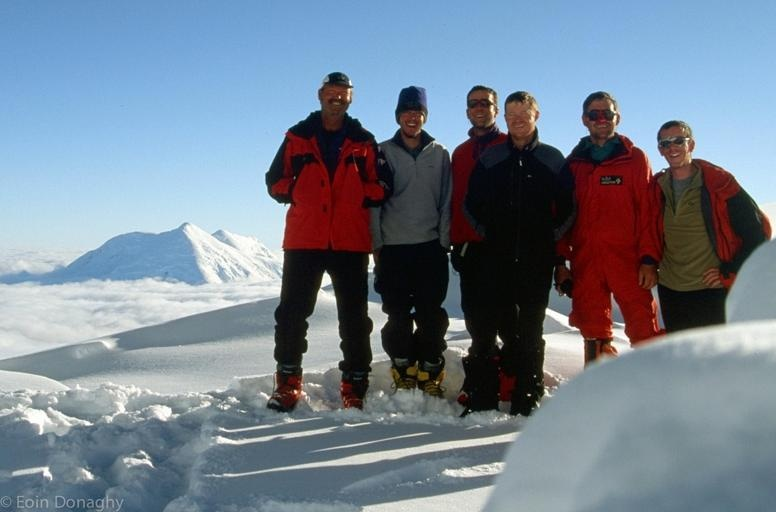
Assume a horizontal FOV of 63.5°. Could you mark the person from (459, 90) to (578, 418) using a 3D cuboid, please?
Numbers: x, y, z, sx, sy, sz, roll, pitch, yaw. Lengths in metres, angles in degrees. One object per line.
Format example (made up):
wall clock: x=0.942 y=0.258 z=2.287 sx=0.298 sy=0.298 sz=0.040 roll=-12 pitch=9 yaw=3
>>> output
person: x=1.003 y=-0.026 z=4.759 sx=0.835 sy=2.404 sz=0.428 roll=1 pitch=-1 yaw=6

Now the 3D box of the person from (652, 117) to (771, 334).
person: x=2.424 y=-0.212 z=4.742 sx=0.740 sy=1.622 sz=0.334 roll=0 pitch=-1 yaw=22
